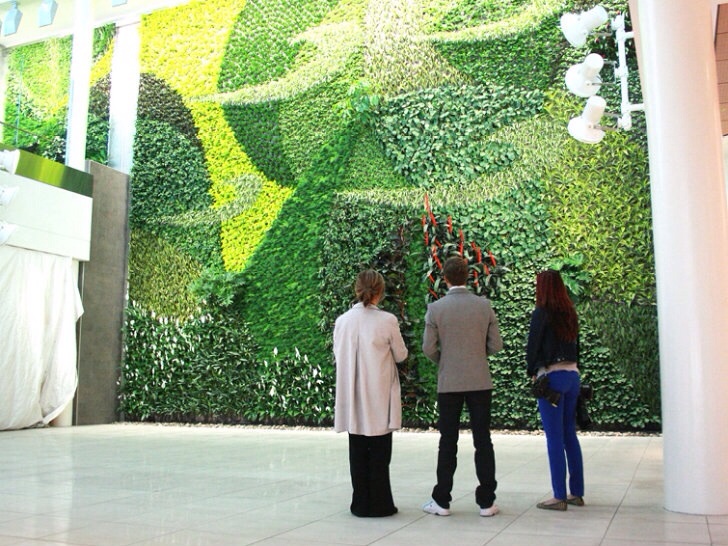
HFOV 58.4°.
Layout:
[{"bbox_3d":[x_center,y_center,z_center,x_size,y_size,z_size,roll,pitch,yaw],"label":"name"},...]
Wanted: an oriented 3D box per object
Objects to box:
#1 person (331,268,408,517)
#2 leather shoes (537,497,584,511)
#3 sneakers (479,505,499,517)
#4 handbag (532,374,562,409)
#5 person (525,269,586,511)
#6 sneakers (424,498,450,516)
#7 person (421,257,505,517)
[{"bbox_3d":[0.052,1.090,5.265,0.580,1.692,0.244,-1,-7,-6],"label":"person"},{"bbox_3d":[1.577,1.861,5.223,0.385,0.172,0.140,2,-15,2],"label":"leather shoes"},{"bbox_3d":[0.981,1.863,5.111,0.170,0.075,0.144,-2,-8,-1],"label":"sneakers"},{"bbox_3d":[1.424,0.930,5.114,0.234,0.196,0.098,10,2,29],"label":"handbag"},{"bbox_3d":[1.554,0.940,5.304,0.479,1.913,0.420,-1,-7,-6],"label":"person"},{"bbox_3d":[0.572,1.869,5.178,0.084,0.105,0.212,4,-4,-34],"label":"sneakers"},{"bbox_3d":[0.796,0.889,5.186,0.594,2.033,0.195,-3,-7,13],"label":"person"}]
